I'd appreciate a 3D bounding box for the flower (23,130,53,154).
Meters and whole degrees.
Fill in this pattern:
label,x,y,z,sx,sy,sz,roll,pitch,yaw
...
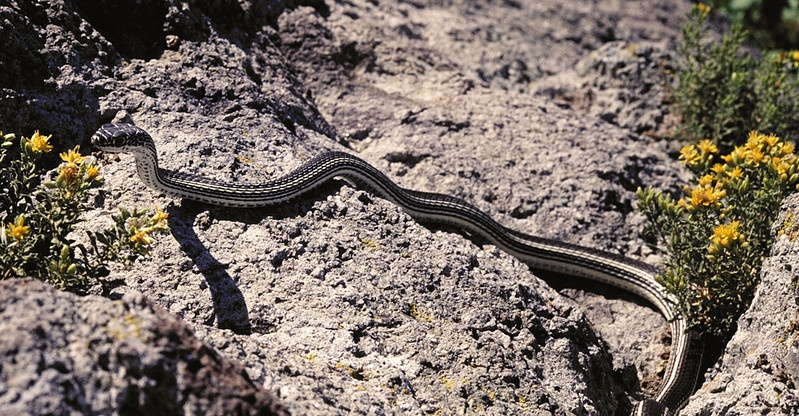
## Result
label,x,y,z,sx,sy,sz,roll,pitch,yaw
flower,-8.634,-1.529,23.817,0.552,0.464,0.509,-18,49,-11
